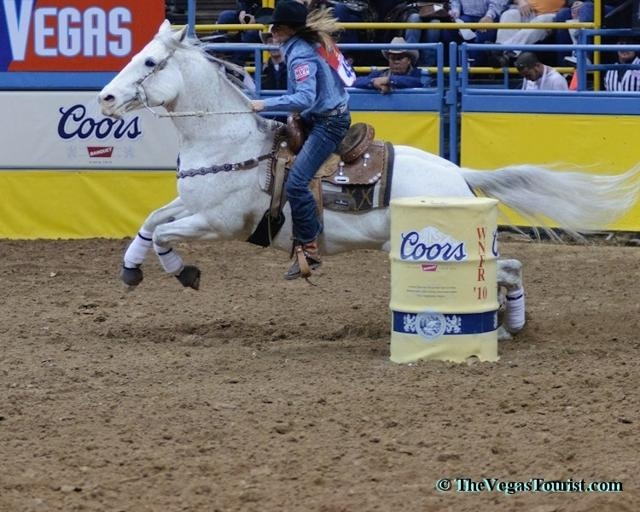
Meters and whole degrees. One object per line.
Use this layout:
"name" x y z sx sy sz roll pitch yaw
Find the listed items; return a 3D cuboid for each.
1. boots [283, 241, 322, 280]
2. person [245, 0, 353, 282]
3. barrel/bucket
"boots" -0.186 0.022 8.273 0.207 0.253 0.479 8 23 28
"person" -0.134 -0.884 8.197 0.555 2.217 0.684 7 22 23
"barrel/bucket" 0.921 0.206 7.882 0.795 1.267 0.388 0 20 4
